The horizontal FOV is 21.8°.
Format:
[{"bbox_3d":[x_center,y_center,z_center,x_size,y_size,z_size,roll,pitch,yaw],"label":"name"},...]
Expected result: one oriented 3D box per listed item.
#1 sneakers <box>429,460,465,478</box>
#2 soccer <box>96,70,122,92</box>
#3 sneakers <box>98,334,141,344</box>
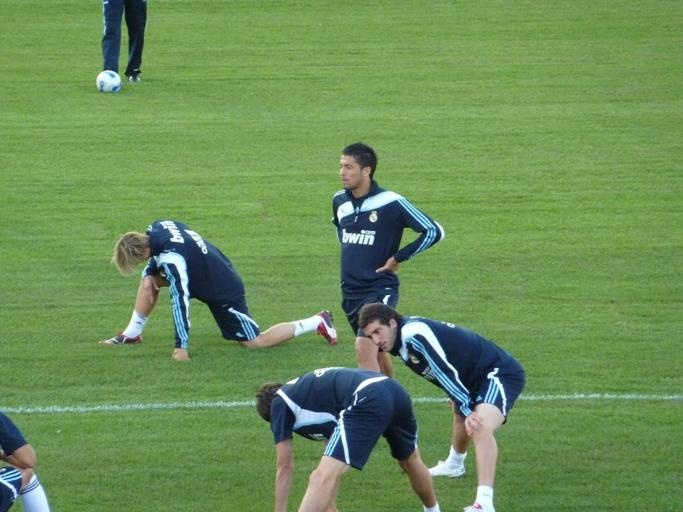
[{"bbox_3d":[1.446,2.874,24.208,0.610,0.224,0.191,3,0,1],"label":"sneakers"},{"bbox_3d":[-4.093,-3.086,31.281,0.288,0.285,0.282,-36,11,42],"label":"soccer"},{"bbox_3d":[-3.195,1.203,25.799,0.557,0.157,0.201,2,-2,-5],"label":"sneakers"}]
